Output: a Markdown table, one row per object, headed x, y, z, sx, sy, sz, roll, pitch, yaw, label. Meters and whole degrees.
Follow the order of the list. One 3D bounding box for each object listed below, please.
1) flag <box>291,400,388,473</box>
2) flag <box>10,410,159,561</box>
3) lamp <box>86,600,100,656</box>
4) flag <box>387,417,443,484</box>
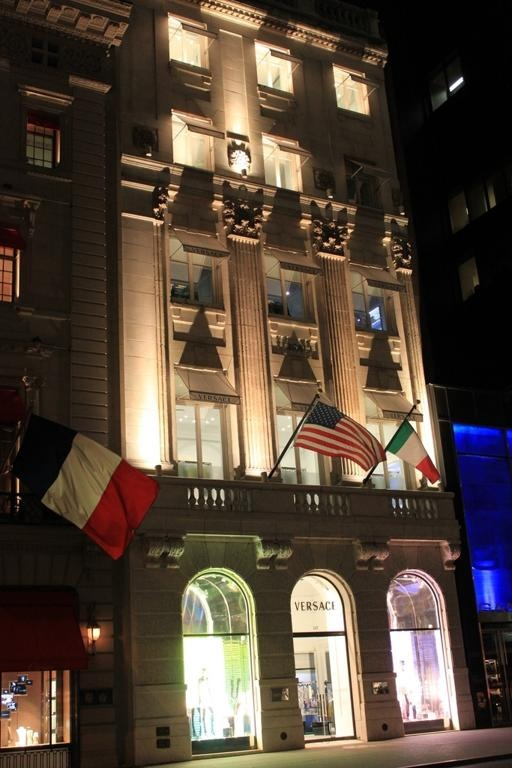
| x | y | z | sx | sy | sz | roll | pitch | yaw | label |
| --- | --- | --- | --- | --- | --- | --- | --- | --- | --- |
| 2.080 | 1.382 | 24.151 | 2.373 | 1.664 | 0.664 | 6 | -23 | -27 | flag |
| -4.056 | 2.455 | 21.277 | 3.029 | 2.234 | 0.483 | 35 | -34 | -12 | flag |
| -3.759 | 5.629 | 21.387 | 0.301 | 1.156 | 0.295 | -1 | 0 | -18 | lamp |
| 4.308 | 1.830 | 25.894 | 1.305 | 1.796 | 0.642 | 14 | -27 | -41 | flag |
